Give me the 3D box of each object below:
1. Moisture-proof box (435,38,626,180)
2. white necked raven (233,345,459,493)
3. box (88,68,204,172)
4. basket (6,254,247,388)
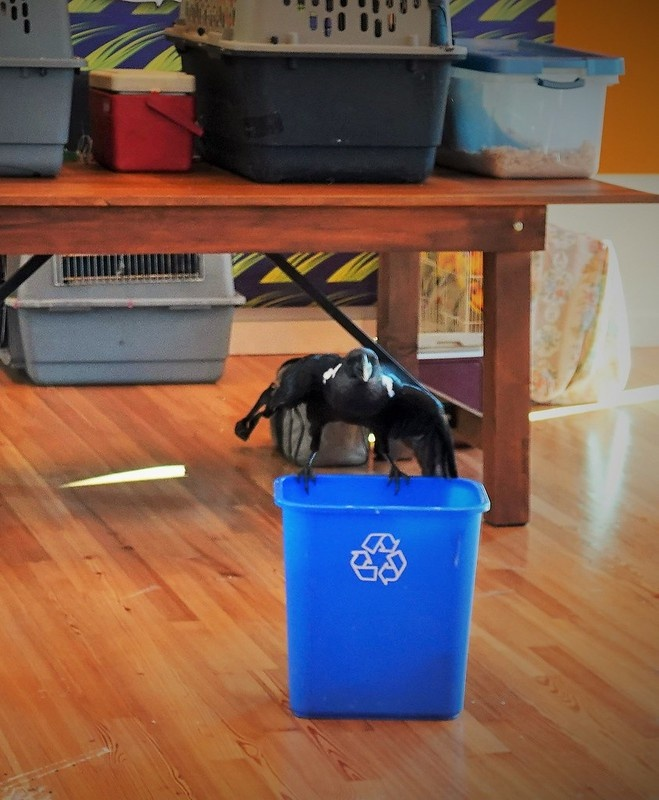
[{"bbox_3d":[0.598,-0.751,2.224,0.333,0.228,0.419,1,27,20],"label":"Moisture-proof box"},{"bbox_3d":[0.057,0.018,1.522,0.336,0.243,0.306,1,13,-3],"label":"white necked raven"},{"bbox_3d":[-0.451,-0.652,2.073,0.275,0.237,0.382,-4,22,-15],"label":"box"},{"bbox_3d":[-0.753,-0.287,3.057,0.798,0.435,0.585,0,10,-7],"label":"basket"}]
